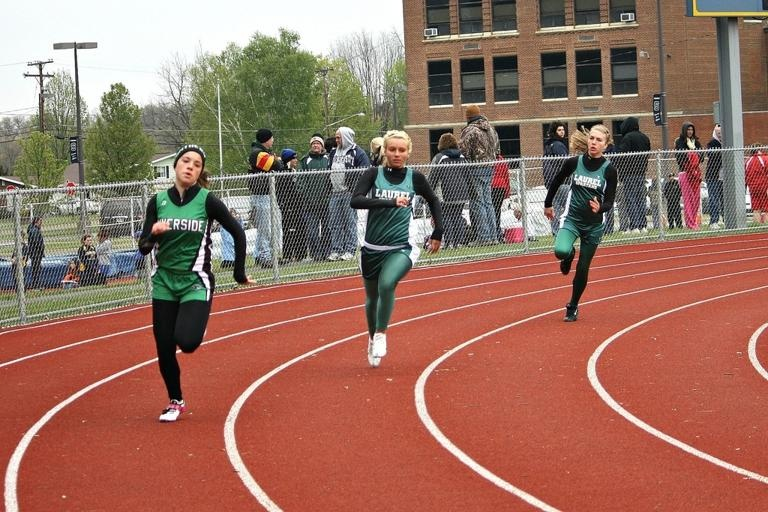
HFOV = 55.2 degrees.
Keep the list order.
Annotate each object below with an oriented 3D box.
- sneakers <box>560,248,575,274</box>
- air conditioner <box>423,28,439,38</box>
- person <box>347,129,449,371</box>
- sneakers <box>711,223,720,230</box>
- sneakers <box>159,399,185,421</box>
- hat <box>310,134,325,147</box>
[{"bbox_3d":[2.582,-0.008,10.401,0.171,0.208,0.506,7,51,21],"label":"sneakers"},{"bbox_3d":[3.083,-15.131,49.487,0.965,0.635,0.587,0,1,0],"label":"air conditioner"},{"bbox_3d":[0.131,-0.049,8.109,0.930,2.655,0.808,-4,9,0],"label":"person"},{"bbox_3d":[8.608,-0.786,19.101,0.108,0.114,0.269,-1,-1,-7],"label":"sneakers"},{"bbox_3d":[-1.957,1.436,6.814,0.113,0.138,0.326,0,2,13],"label":"sneakers"},{"bbox_3d":[-1.447,-2.476,15.404,0.218,0.225,0.288,1,-13,-1],"label":"hat"}]
